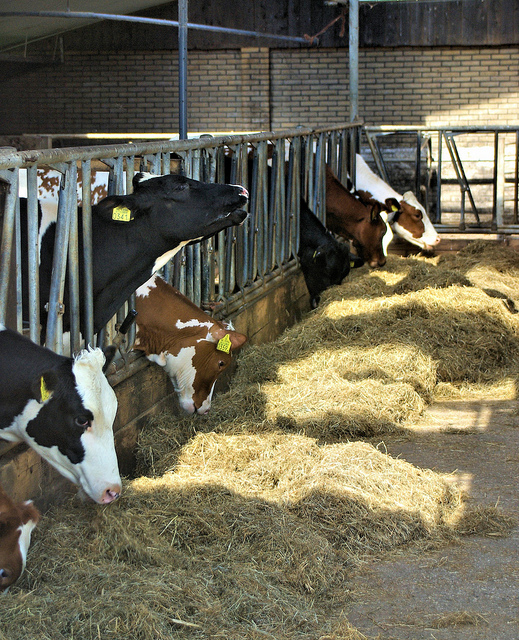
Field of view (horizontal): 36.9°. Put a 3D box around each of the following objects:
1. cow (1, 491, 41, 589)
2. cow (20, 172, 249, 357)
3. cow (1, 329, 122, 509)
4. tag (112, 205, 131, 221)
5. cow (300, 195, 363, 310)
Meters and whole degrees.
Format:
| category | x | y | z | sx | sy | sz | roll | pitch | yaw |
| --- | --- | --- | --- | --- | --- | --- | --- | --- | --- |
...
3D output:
| category | x | y | z | sx | sy | sz | roll | pitch | yaw |
| --- | --- | --- | --- | --- | --- | --- | --- | --- | --- |
| cow | -0.691 | 0.666 | 2.235 | 0.104 | 0.330 | 0.235 | -2 | 8 | -15 |
| cow | -0.641 | -0.249 | 3.493 | 1.082 | 0.849 | 0.638 | 1 | 7 | 6 |
| cow | -0.659 | 0.335 | 2.391 | 0.361 | 0.559 | 0.307 | 1 | 7 | 9 |
| tag | -0.593 | -0.460 | 3.322 | 0.081 | 0.073 | 0.009 | 1 | 42 | 3 |
| cow | 0.566 | -0.637 | 6.946 | 0.331 | 0.880 | 0.481 | 4 | 8 | 29 |
